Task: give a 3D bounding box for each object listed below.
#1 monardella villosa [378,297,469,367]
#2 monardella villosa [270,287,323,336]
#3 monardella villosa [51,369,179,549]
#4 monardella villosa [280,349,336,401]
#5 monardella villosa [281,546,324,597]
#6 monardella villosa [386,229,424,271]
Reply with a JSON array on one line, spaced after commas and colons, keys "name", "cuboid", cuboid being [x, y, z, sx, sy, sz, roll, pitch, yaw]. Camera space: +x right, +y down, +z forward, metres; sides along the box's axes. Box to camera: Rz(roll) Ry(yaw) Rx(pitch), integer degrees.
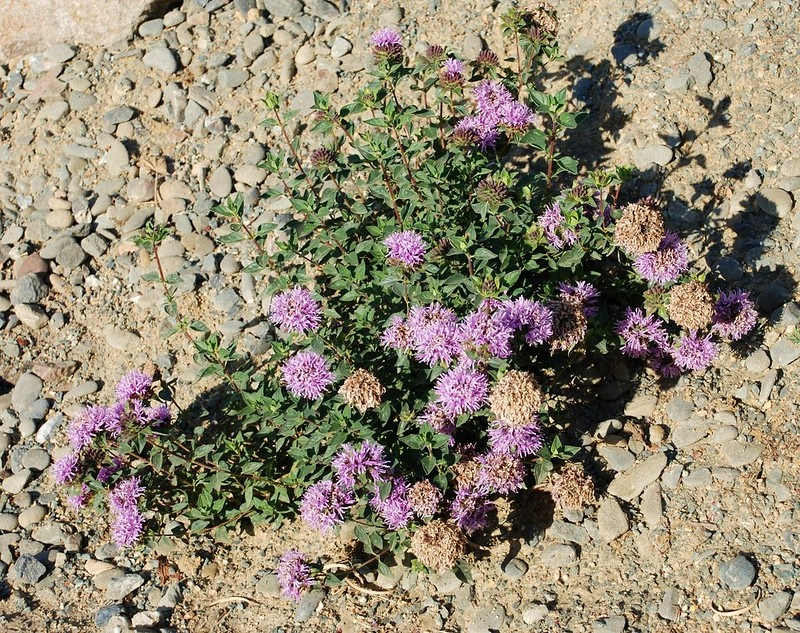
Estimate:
[{"name": "monardella villosa", "cuboid": [0.139, 0.130, 5.514, 0.399, 0.248, 0.411, -20, 52, 7]}, {"name": "monardella villosa", "cuboid": [-0.676, -0.030, 5.988, 0.311, 0.428, 0.294, 6, 85, 2]}, {"name": "monardella villosa", "cuboid": [-1.889, 0.930, 6.281, 0.716, 0.981, 1.126, -25, 49, 11]}, {"name": "monardella villosa", "cuboid": [-0.585, 0.387, 5.744, 0.278, 0.211, 0.308, -34, 86, -2]}, {"name": "monardella villosa", "cuboid": [-0.678, 1.734, 5.962, 0.300, 0.293, 0.288, 6, 69, -8]}, {"name": "monardella villosa", "cuboid": [0.053, -0.418, 5.722, 0.232, 0.177, 0.240, -24, 58, -7]}]
